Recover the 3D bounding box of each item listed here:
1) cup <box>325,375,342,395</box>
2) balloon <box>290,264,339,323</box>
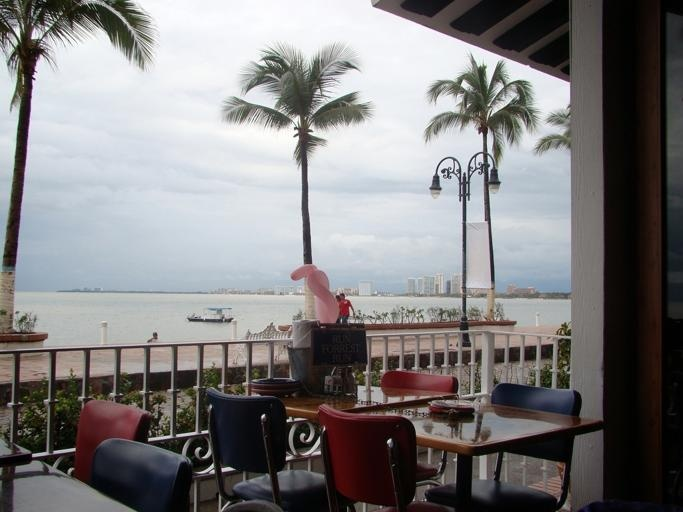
[{"bbox_3d":[-0.053,0.811,3.662,0.074,0.135,0.122,4,-4,-44],"label":"cup"},{"bbox_3d":[-0.191,0.268,4.058,0.327,0.423,0.554,0,-8,-5],"label":"balloon"}]
